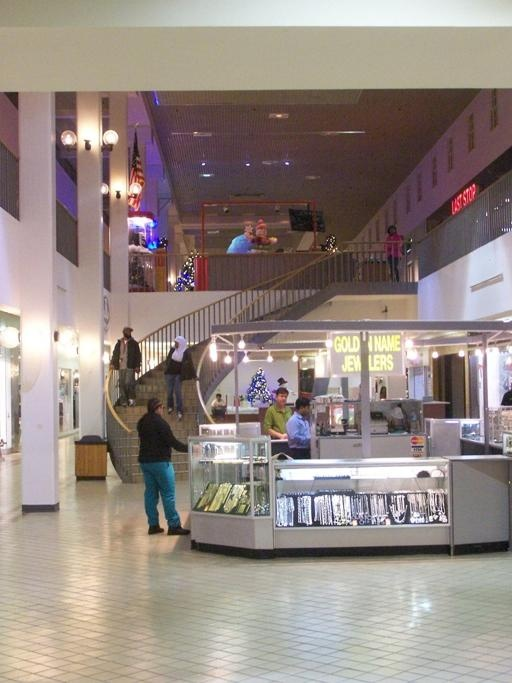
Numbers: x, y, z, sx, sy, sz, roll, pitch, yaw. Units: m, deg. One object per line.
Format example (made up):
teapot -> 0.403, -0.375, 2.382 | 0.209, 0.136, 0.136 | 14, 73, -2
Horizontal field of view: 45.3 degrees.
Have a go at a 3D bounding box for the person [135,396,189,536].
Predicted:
person -> -1.111, 1.507, 7.319 | 0.669, 1.615, 0.447 | -4, -5, 32

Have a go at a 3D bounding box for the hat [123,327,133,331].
hat -> -2.973, -0.275, 14.261 | 0.113, 0.069, 0.167 | 0, -7, -20

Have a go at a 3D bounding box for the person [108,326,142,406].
person -> -2.879, 0.577, 13.618 | 0.615, 1.720, 1.182 | 0, -5, -14

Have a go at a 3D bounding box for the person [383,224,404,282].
person -> 4.101, -2.536, 18.302 | 0.490, 1.803, 1.568 | -2, -5, 14

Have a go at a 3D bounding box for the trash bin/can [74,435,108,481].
trash bin/can -> -3.278, 2.393, 12.589 | 0.621, 1.099, 0.705 | 0, 2, 3
